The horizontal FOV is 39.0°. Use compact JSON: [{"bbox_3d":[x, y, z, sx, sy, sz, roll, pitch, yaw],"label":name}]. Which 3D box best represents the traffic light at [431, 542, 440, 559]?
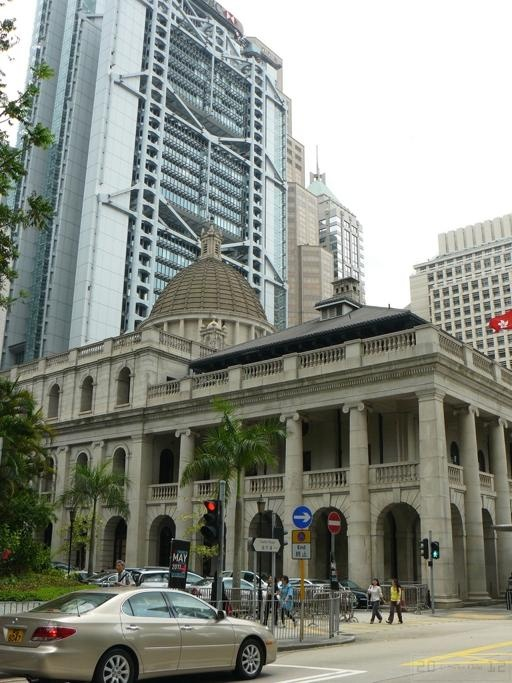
[{"bbox_3d":[6.741,7.844,27.155,0.254,0.591,0.592,-8,-20,21],"label":"traffic light"}]

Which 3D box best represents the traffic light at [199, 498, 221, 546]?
[{"bbox_3d":[-1.037,4.154,16.678,0.435,0.996,0.943,2,-19,-4],"label":"traffic light"}]

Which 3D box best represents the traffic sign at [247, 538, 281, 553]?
[{"bbox_3d":[0.279,5.119,18.173,0.653,0.317,1.413,0,-18,1],"label":"traffic sign"}]

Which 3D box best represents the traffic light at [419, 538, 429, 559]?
[{"bbox_3d":[6.362,7.779,27.053,0.284,0.659,0.347,-4,-20,11],"label":"traffic light"}]
